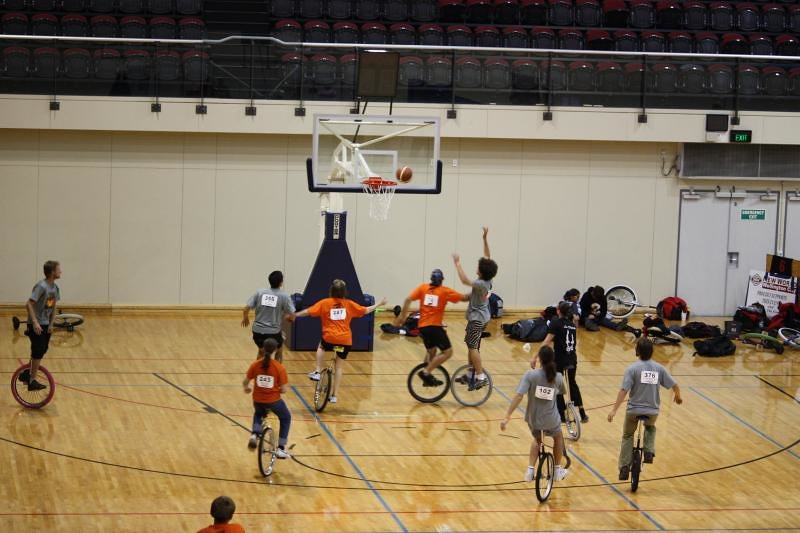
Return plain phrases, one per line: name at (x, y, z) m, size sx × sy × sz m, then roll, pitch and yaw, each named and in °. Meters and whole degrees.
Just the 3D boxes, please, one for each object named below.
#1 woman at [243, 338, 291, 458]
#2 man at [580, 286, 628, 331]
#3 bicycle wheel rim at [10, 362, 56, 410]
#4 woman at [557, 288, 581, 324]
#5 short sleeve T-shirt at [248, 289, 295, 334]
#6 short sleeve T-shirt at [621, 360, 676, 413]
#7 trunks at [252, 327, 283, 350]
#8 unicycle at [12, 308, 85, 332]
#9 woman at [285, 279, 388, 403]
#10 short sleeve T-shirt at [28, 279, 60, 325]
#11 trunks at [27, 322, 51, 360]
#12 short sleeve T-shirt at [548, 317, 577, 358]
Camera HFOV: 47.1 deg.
woman at (-2.152, 2.079, 14.687) m, size 0.801 × 1.994 × 0.689 m, roll 5°, pitch 13°, yaw 4°
man at (5.045, 1.024, 22.513) m, size 0.816 × 1.018 × 1.274 m, roll -4°, pitch 7°, yaw -17°
bicycle wheel rim at (-6.729, 2.217, 16.639) m, size 0.733 × 0.795 × 0.219 m, roll 7°, pitch -2°, yaw 5°
woman at (3.520, 0.810, 18.498) m, size 0.325 × 0.868 × 0.467 m, roll -13°, pitch 31°, yaw 5°
short sleeve T-shirt at (-2.404, 0.797, 16.882) m, size 0.825 × 0.873 × 0.485 m, roll 9°, pitch 9°, yaw 1°
short sleeve T-shirt at (4.221, 2.048, 15.239) m, size 1.080 × 1.115 × 0.507 m, roll 2°, pitch 11°, yaw 17°
trunks at (-2.430, 1.400, 16.726) m, size 0.443 × 0.341 × 0.326 m, roll 3°, pitch 12°, yaw 9°
unicycle at (-8.177, 1.278, 21.297) m, size 1.358 × 0.733 × 0.888 m, roll 0°, pitch 5°, yaw 10°
woman at (-1.295, 1.568, 18.248) m, size 1.714 × 2.447 × 1.134 m, roll 11°, pitch 2°, yaw -32°
short sleeve T-shirt at (-6.329, 0.651, 16.127) m, size 0.506 × 0.833 × 0.295 m, roll 0°, pitch 6°, yaw -34°
trunks at (-6.411, 1.329, 16.114) m, size 0.379 × 0.648 × 0.316 m, roll 1°, pitch 6°, yaw -26°
short sleeve T-shirt at (2.885, 1.232, 15.862) m, size 0.594 × 0.613 × 0.352 m, roll -4°, pitch 9°, yaw -8°
